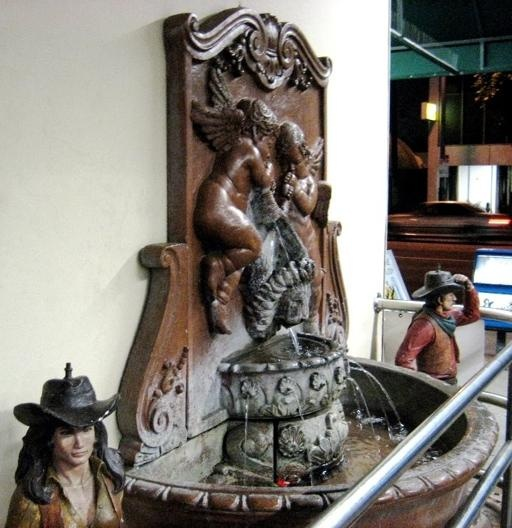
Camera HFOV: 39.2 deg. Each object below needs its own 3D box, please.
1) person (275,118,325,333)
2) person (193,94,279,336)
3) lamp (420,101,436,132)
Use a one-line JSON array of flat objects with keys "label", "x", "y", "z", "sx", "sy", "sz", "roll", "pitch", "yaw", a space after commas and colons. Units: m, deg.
[{"label": "person", "x": 0.242, "y": -0.145, "z": 3.821, "sx": 0.208, "sy": 1.149, "sz": 0.685, "roll": 3, "pitch": 5, "yaw": 11}, {"label": "person", "x": -0.089, "y": -0.211, "z": 3.140, "sx": 0.182, "sy": 1.022, "sz": 0.539, "roll": 5, "pitch": 6, "yaw": 24}, {"label": "lamp", "x": 1.379, "y": -1.186, "z": 5.808, "sx": 0.144, "sy": 0.227, "sz": 0.082, "roll": 5, "pitch": 6, "yaw": 23}]
